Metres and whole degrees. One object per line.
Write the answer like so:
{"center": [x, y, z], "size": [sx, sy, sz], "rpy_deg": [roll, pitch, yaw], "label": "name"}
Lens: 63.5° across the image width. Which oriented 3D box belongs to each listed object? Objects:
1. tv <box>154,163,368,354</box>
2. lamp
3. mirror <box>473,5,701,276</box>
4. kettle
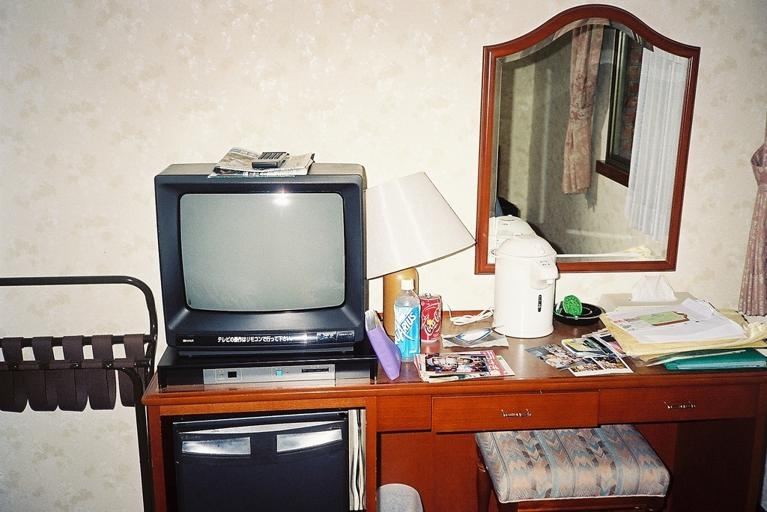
{"center": [-0.450, 0.007, 2.260], "size": [0.705, 0.584, 0.340], "rpy_deg": [-1, 13, -3], "label": "tv"}
{"center": [0.075, 0.012, 2.551], "size": [0.506, 0.692, 0.447], "rpy_deg": [14, 27, 41], "label": "lamp"}
{"center": [0.845, -0.466, 2.600], "size": [0.942, 1.098, 0.176], "rpy_deg": [-3, 3, -7], "label": "mirror"}
{"center": [0.586, 0.117, 2.543], "size": [0.322, 0.400, 0.360], "rpy_deg": [-3, 20, -5], "label": "kettle"}
